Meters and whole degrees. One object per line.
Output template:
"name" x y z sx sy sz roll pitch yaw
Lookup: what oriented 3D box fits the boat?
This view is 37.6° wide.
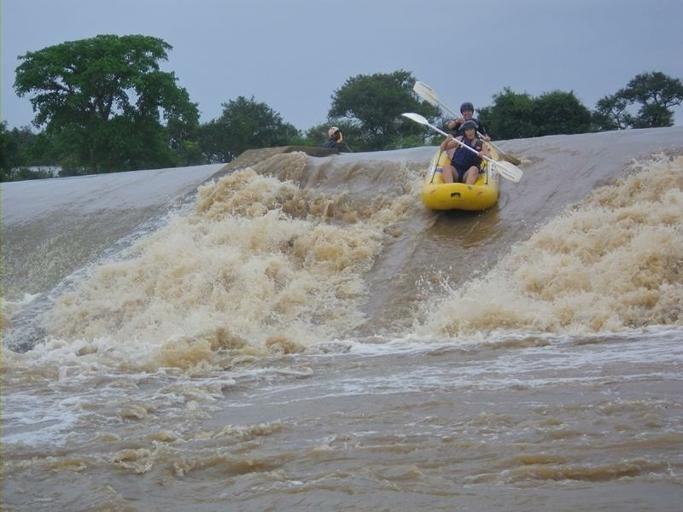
"boat" 2.162 -1.673 18.247 0.957 1.401 1.962 8 24 14
